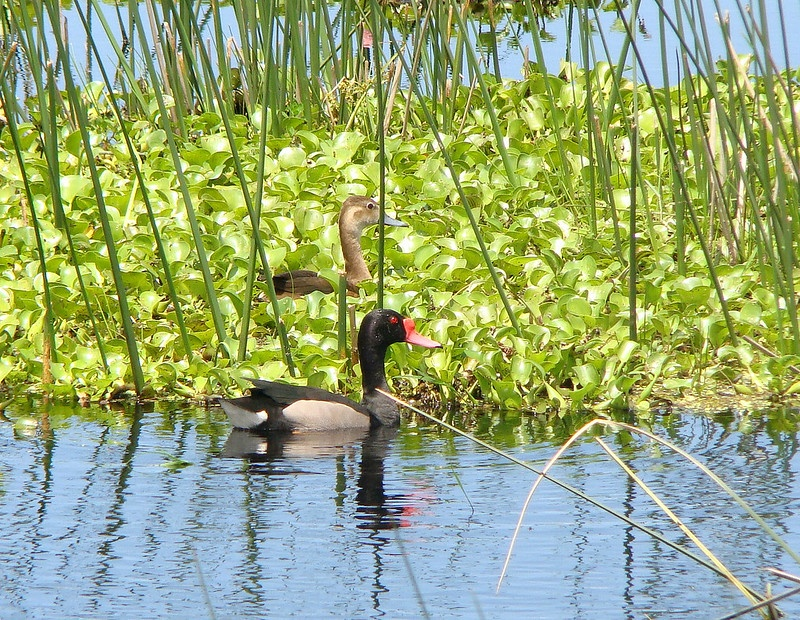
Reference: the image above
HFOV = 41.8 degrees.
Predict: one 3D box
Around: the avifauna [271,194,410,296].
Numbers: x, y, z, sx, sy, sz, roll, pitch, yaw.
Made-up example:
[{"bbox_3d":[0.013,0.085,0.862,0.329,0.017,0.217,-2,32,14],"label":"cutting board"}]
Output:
[{"bbox_3d":[-0.572,-0.353,7.943,1.250,1.002,0.464,-7,18,-37],"label":"avifauna"}]
